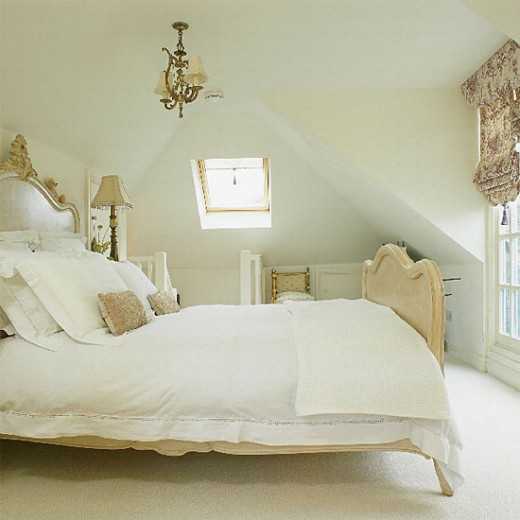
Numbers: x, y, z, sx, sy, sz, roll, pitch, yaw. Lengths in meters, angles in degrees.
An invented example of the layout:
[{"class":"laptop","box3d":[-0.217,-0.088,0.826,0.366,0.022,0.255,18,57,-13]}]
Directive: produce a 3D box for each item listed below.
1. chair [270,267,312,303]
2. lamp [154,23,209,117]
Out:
[{"class":"chair","box3d":[0.385,0.331,6.599,0.392,0.431,0.419,0,-4,-1]},{"class":"lamp","box3d":[-0.466,-1.093,3.146,0.319,0.583,0.247,-10,-14,28]}]
